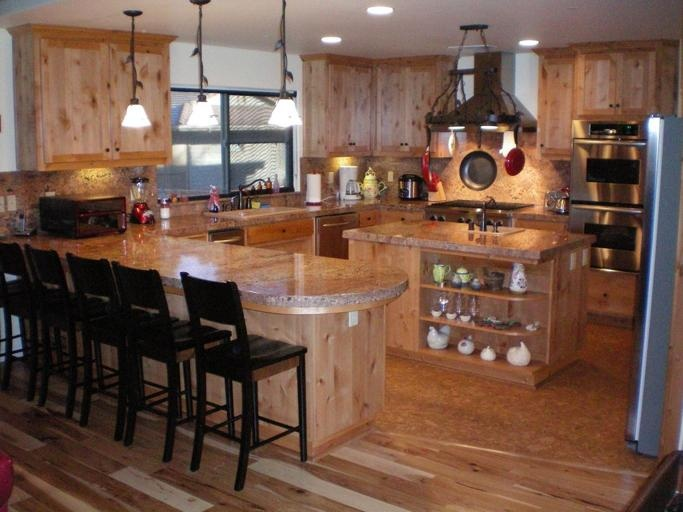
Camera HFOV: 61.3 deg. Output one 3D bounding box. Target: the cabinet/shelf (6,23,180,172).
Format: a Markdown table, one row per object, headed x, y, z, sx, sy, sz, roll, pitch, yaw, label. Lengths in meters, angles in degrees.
| x | y | z | sx | sy | sz | roll | pitch | yaw | label |
| --- | --- | --- | --- | --- | --- | --- | --- | --- | --- |
| -2.289 | -1.437 | 5.141 | 0.451 | 1.142 | 1.379 | 5 | 8 | 42 | cabinet/shelf |

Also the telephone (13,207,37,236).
| x | y | z | sx | sy | sz | roll | pitch | yaw | label |
| --- | --- | --- | --- | --- | --- | --- | --- | --- | --- |
| -2.825 | -0.308 | 5.134 | 0.230 | 0.243 | 0.221 | 3 | 15 | -13 | telephone |

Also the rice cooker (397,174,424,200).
| x | y | z | sx | sy | sz | roll | pitch | yaw | label |
| --- | --- | --- | --- | --- | --- | --- | --- | --- | --- |
| 0.913 | -0.912 | 7.636 | 0.356 | 0.362 | 0.347 | 1 | 10 | 6 | rice cooker |

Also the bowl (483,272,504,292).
| x | y | z | sx | sy | sz | roll | pitch | yaw | label |
| --- | --- | --- | --- | --- | --- | --- | --- | --- | --- |
| 1.263 | 0.211 | 4.779 | 0.146 | 0.104 | 0.158 | 0 | -2 | 0 | bowl |

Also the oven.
| x | y | z | sx | sy | sz | roll | pitch | yaw | label |
| --- | --- | --- | --- | --- | --- | --- | --- | --- | --- |
| 3.069 | -0.682 | 6.207 | 0.949 | 1.552 | 0.912 | 7 | 16 | 40 | oven |

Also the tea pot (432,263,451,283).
| x | y | z | sx | sy | sz | roll | pitch | yaw | label |
| --- | --- | --- | --- | --- | --- | --- | --- | --- | --- |
| 0.835 | 0.161 | 5.002 | 0.182 | 0.171 | 0.132 | 2 | 3 | -2 | tea pot |

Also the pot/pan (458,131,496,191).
| x | y | z | sx | sy | sz | roll | pitch | yaw | label |
| --- | --- | --- | --- | --- | --- | --- | --- | --- | --- |
| 1.723 | -1.190 | 7.310 | 0.477 | 0.743 | 0.114 | 8 | 20 | 32 | pot/pan |

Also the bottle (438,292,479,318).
| x | y | z | sx | sy | sz | roll | pitch | yaw | label |
| --- | --- | --- | --- | --- | --- | --- | --- | --- | --- |
| 1.019 | 0.429 | 5.039 | 0.250 | 0.118 | 0.336 | 1 | 1 | 13 | bottle |

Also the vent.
| x | y | z | sx | sy | sz | roll | pitch | yaw | label |
| --- | --- | --- | --- | --- | --- | --- | --- | --- | --- |
| 1.598 | -1.892 | 6.599 | 0.851 | 0.789 | 1.215 | -12 | 18 | -33 | vent |

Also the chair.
| x | y | z | sx | sy | sz | roll | pitch | yaw | label |
| --- | --- | --- | --- | --- | --- | --- | --- | --- | --- |
| -1.169 | 0.717 | 3.640 | 1.332 | 1.061 | 0.515 | 7 | 11 | 39 | chair |

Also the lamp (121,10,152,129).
| x | y | z | sx | sy | sz | roll | pitch | yaw | label |
| --- | --- | --- | --- | --- | --- | --- | --- | --- | --- |
| -1.763 | -1.539 | 4.890 | 0.265 | 0.911 | 1.277 | -4 | 13 | -20 | lamp |

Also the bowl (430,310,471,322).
| x | y | z | sx | sy | sz | roll | pitch | yaw | label |
| --- | --- | --- | --- | --- | --- | --- | --- | --- | --- |
| 0.951 | 0.513 | 5.005 | 0.335 | 0.069 | 0.178 | 4 | 12 | 13 | bowl |

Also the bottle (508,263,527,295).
| x | y | z | sx | sy | sz | roll | pitch | yaw | label |
| --- | --- | --- | --- | --- | --- | --- | --- | --- | --- |
| 1.444 | 0.171 | 4.720 | 0.132 | 0.254 | 0.161 | 1 | 13 | 1 | bottle |

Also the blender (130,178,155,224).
| x | y | z | sx | sy | sz | roll | pitch | yaw | label |
| --- | --- | --- | --- | --- | --- | --- | --- | --- | --- |
| -2.035 | -0.563 | 5.797 | 0.221 | 0.458 | 0.344 | -4 | 13 | -20 | blender |
